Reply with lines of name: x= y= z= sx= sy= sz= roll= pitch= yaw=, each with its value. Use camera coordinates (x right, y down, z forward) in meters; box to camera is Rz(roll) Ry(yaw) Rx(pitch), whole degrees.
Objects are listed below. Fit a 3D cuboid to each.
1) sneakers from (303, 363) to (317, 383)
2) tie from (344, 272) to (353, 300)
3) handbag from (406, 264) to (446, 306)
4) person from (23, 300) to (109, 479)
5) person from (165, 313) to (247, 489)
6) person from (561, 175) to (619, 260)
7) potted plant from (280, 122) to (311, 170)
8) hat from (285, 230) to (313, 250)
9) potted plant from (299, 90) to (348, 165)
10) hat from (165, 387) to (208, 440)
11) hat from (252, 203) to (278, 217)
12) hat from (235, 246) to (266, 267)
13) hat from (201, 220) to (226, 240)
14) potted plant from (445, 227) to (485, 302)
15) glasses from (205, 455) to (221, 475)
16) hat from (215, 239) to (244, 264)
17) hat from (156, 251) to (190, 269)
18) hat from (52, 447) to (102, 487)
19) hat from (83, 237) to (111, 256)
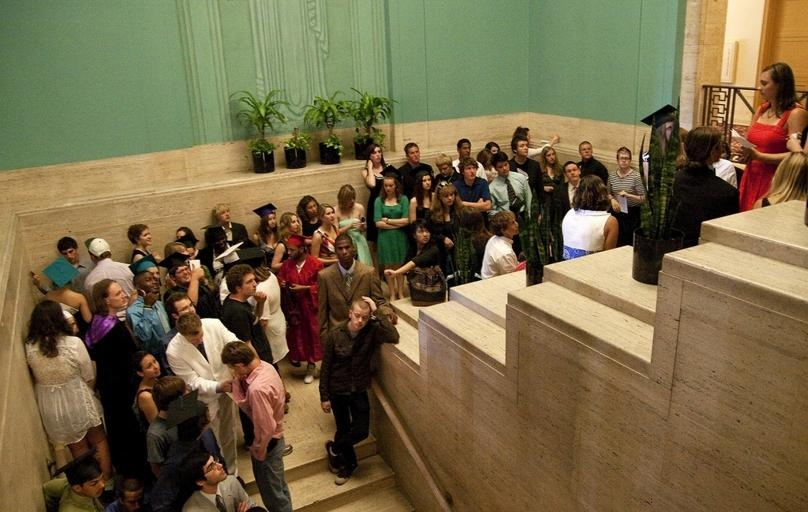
sneakers: x=-1.354 y=1.625 z=7.904 sx=0.127 sy=0.133 sz=0.338 roll=5 pitch=54 yaw=6
tie: x=-0.691 y=0.363 z=6.811 sx=0.105 sy=0.309 sz=0.105 roll=-7 pitch=15 yaw=-4
handbag: x=0.317 y=0.337 z=6.908 sx=0.528 sy=0.529 sz=0.380 roll=-6 pitch=13 yaw=9
person: x=-3.703 y=1.527 z=6.043 sx=0.613 sy=2.098 sz=0.419 roll=-11 pitch=16 yaw=-19
person: x=-2.127 y=1.534 z=6.222 sx=0.778 sy=2.003 sz=0.679 roll=-18 pitch=30 yaw=-28
person: x=1.814 y=-0.368 z=5.426 sx=0.508 sy=0.789 sz=0.368 roll=-1 pitch=16 yaw=16
potted plant: x=-2.002 y=-1.974 z=10.054 sx=0.446 sy=0.700 sz=0.594 roll=-9 pitch=15 yaw=-14
hat: x=-1.530 y=-0.245 z=7.881 sx=0.256 sy=0.161 sz=0.333 roll=2 pitch=5 yaw=20
potted plant: x=-1.388 y=-2.370 z=10.195 sx=0.888 sy=1.272 sz=0.899 roll=-10 pitch=16 yaw=-16
hat: x=-2.090 y=1.472 z=5.251 sx=0.409 sy=0.437 sz=0.108 roll=-38 pitch=-22 yaw=15
hat: x=-2.304 y=-0.754 z=8.929 sx=0.247 sy=0.132 sz=0.270 roll=-15 pitch=-2 yaw=3
hat: x=-1.931 y=0.007 z=6.921 sx=0.332 sy=0.227 sz=0.371 roll=-11 pitch=16 yaw=-23
hat: x=-2.954 y=-0.399 z=8.430 sx=0.340 sy=0.326 sz=0.353 roll=0 pitch=8 yaw=30
potted plant: x=0.784 y=0.005 z=6.959 sx=0.489 sy=0.789 sz=0.404 roll=-4 pitch=15 yaw=7
glasses: x=-1.771 y=1.894 z=5.028 sx=0.152 sy=0.046 sz=0.148 roll=-8 pitch=16 yaw=18
hat: x=-2.261 y=-0.097 z=7.173 sx=0.353 sy=0.117 sz=0.352 roll=-36 pitch=7 yaw=-33
hat: x=-2.983 y=0.045 z=7.087 sx=0.319 sy=0.157 sz=0.316 roll=-20 pitch=19 yaw=-36
hat: x=-2.942 y=1.926 z=4.990 sx=0.282 sy=0.277 sz=0.311 roll=-16 pitch=18 yaw=-36
hat: x=-4.433 y=-0.189 z=7.889 sx=0.304 sy=0.166 sz=0.425 roll=-12 pitch=34 yaw=-40
